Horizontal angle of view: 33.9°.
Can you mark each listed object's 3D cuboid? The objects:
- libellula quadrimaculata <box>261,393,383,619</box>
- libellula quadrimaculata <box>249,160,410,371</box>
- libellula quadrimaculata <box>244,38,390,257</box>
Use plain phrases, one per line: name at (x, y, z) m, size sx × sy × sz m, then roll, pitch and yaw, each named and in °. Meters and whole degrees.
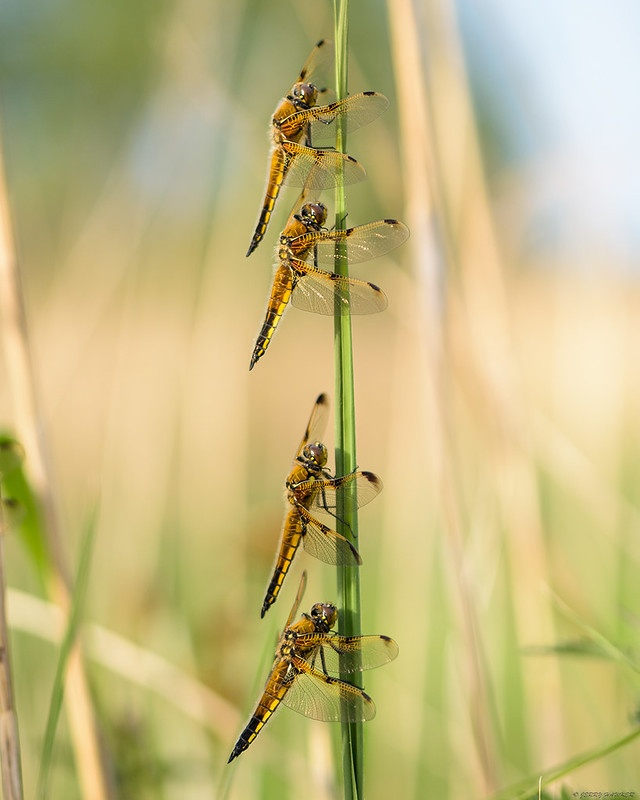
libellula quadrimaculata at (-0.017, 0.146, 1.264) m, size 0.099 × 0.198 × 0.193 m, roll 31°, pitch -94°, yaw -15°
libellula quadrimaculata at (-0.040, -0.139, 1.286) m, size 0.235 × 0.229 × 0.152 m, roll 14°, pitch -77°, yaw -8°
libellula quadrimaculata at (0.020, -0.297, 1.341) m, size 0.177 × 0.200 × 0.103 m, roll -44°, pitch -62°, yaw -13°
